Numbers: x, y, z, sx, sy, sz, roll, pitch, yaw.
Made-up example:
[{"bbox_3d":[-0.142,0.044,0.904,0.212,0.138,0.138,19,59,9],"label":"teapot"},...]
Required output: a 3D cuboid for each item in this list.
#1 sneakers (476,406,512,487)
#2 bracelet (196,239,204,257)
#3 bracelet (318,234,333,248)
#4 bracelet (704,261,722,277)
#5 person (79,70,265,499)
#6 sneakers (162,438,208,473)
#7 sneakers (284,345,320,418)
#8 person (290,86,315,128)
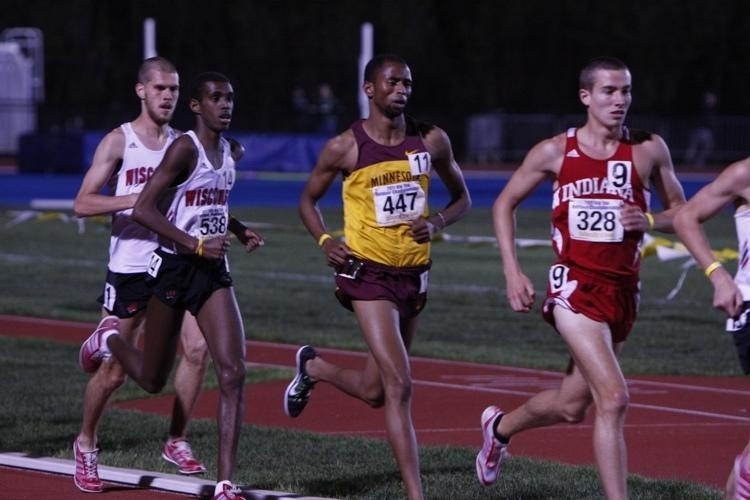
[{"bbox_3d":[0.907,1.525,7.953,0.203,0.601,0.257,1,-3,-21],"label":"sneakers"},{"bbox_3d":[-1.290,-0.007,7.552,0.040,0.102,0.091,7,-21,-9],"label":"bracelet"},{"bbox_3d":[-0.396,-0.065,8.017,0.105,0.056,0.086,-37,12,48],"label":"bracelet"},{"bbox_3d":[2.371,0.136,7.178,0.109,0.104,0.065,-28,49,-28],"label":"bracelet"},{"bbox_3d":[-1.325,0.269,7.726,1.019,3.070,1.265,-12,20,-43],"label":"person"},{"bbox_3d":[-1.534,1.641,8.124,0.464,0.207,0.167,19,8,36],"label":"sneakers"},{"bbox_3d":[-0.616,1.136,8.664,0.258,0.641,0.229,7,-7,27],"label":"sneakers"},{"bbox_3d":[-1.951,-4.242,30.081,0.815,1.849,0.568,-1,52,0],"label":"person"}]
